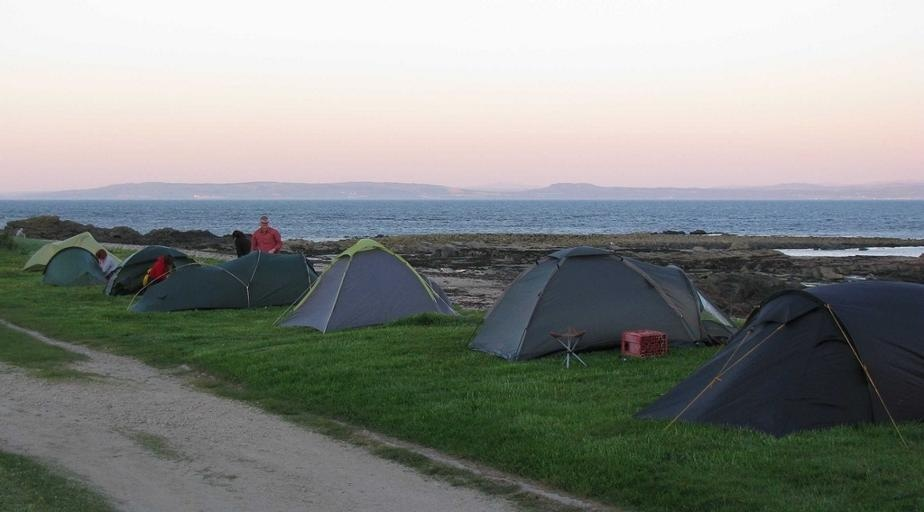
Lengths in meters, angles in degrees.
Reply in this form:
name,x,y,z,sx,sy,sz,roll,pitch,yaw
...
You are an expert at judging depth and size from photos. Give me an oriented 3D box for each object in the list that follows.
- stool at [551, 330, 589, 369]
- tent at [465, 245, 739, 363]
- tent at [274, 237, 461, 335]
name,x,y,z,sx,sy,sz,roll,pitch,yaw
stool,2.956,2.569,21.996,1.361,1.067,1.018,-1,-5,3
tent,3.913,1.360,22.989,6.055,1.604,3.747,-3,2,-18
tent,-3.092,1.152,24.856,4.628,1.557,3.865,-1,3,-2
